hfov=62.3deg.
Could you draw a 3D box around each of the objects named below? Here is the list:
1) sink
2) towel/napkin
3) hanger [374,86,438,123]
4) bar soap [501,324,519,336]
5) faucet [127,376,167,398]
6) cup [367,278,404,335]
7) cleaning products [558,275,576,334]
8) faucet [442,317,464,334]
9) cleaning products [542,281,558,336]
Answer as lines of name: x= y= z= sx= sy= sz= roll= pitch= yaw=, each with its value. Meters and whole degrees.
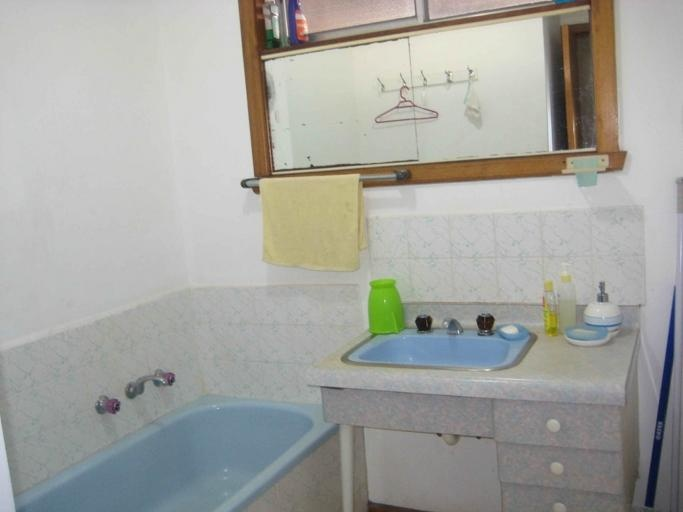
sink: x=0.401 y=0.406 z=2.288 sx=0.721 sy=0.136 sz=0.456 roll=0 pitch=10 yaw=23
towel/napkin: x=-0.118 y=-0.160 z=2.598 sx=0.435 sy=0.372 sz=0.169 roll=1 pitch=9 yaw=19
hanger: x=0.300 y=-0.680 z=2.506 sx=0.200 sy=0.118 sz=0.014 roll=1 pitch=35 yaw=20
bar soap: x=0.692 y=0.303 z=2.303 sx=0.042 sy=0.019 sz=0.055 roll=4 pitch=15 yaw=20
faucet: x=-0.899 y=0.608 z=2.656 sx=0.205 sy=0.129 sz=0.078 roll=6 pitch=2 yaw=-29
cup: x=0.198 y=0.225 z=2.615 sx=0.223 sy=0.231 sz=0.184 roll=-4 pitch=3 yaw=-34
cleaning products: x=0.916 y=0.190 z=2.284 sx=0.066 sy=0.233 sz=0.170 roll=0 pitch=10 yaw=22
faucet: x=0.483 y=0.305 z=2.423 sx=0.072 sy=0.089 sz=0.060 roll=-6 pitch=-1 yaw=-2
cleaning products: x=0.873 y=0.204 z=2.340 sx=0.059 sy=0.217 sz=0.159 roll=0 pitch=9 yaw=20
